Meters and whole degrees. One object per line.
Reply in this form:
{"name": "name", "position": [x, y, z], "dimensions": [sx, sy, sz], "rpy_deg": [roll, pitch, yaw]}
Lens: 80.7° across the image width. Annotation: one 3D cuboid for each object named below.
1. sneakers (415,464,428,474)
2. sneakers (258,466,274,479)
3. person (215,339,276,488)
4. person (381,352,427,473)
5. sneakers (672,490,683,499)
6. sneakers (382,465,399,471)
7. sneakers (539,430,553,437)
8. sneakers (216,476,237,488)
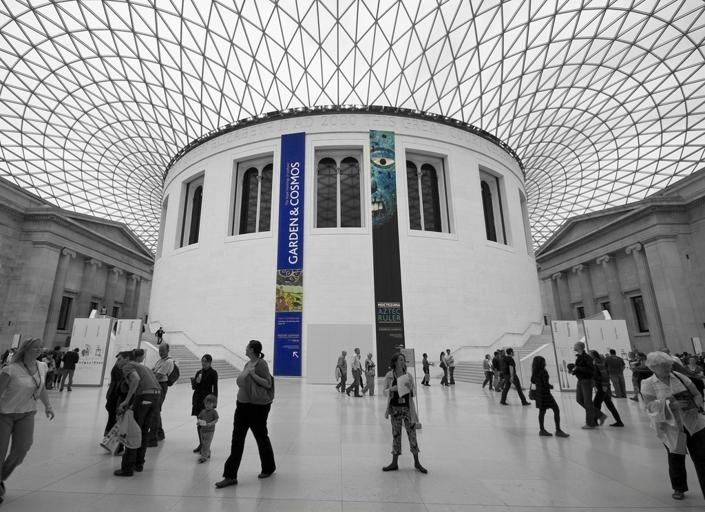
{"name": "sneakers", "position": [1.498, 4.616, 9.008], "dimensions": [0.110, 0.157, 0.361], "rpy_deg": [3, -19, -18]}
{"name": "sneakers", "position": [-1.835, 4.616, 8.842], "dimensions": [0.388, 0.166, 0.142], "rpy_deg": [4, -12, -17]}
{"name": "person", "position": [-2.200, 3.279, 8.906], "dimensions": [1.055, 2.903, 0.632], "rpy_deg": [1, -6, -7]}
{"name": "person", "position": [1.187, 3.452, 9.308], "dimensions": [0.921, 2.515, 0.874], "rpy_deg": [-3, -7, 29]}
{"name": "sneakers", "position": [6.394, 4.635, 8.080], "dimensions": [0.242, 0.149, 0.108], "rpy_deg": [0, -6, 0]}
{"name": "sneakers", "position": [0.820, 4.656, 9.110], "dimensions": [0.253, 0.100, 0.145], "rpy_deg": [3, -14, 6]}
{"name": "sneakers", "position": [5.260, 4.759, 11.238], "dimensions": [0.403, 0.171, 0.223], "rpy_deg": [0, -5, -4]}
{"name": "sneakers", "position": [-2.591, 4.624, 8.496], "dimensions": [0.462, 0.186, 0.156], "rpy_deg": [4, -14, -5]}
